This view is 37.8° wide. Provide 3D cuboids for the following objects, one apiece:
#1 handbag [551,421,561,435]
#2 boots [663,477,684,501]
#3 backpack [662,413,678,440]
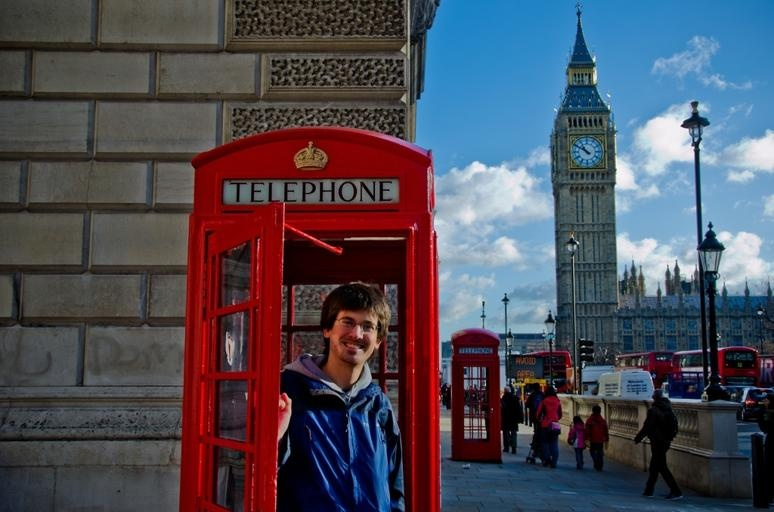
[{"bbox_3d":[3.473,3.514,23.232,0.234,0.214,0.230,0,-46,5],"label":"handbag"},{"bbox_3d":[4.991,4.035,19.608,0.263,0.353,0.448,-3,-10,14],"label":"boots"},{"bbox_3d":[5.012,2.995,19.794,0.138,0.470,0.350,-8,-12,37],"label":"backpack"}]
